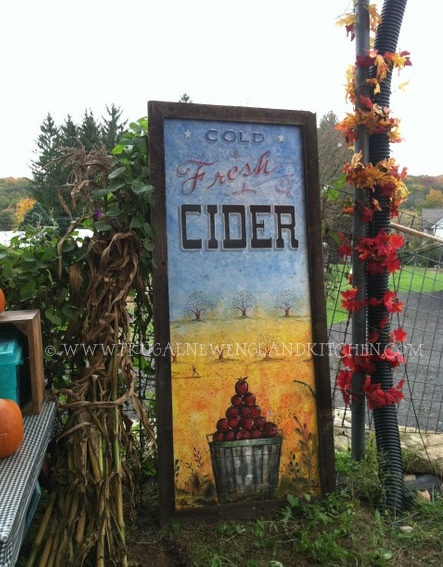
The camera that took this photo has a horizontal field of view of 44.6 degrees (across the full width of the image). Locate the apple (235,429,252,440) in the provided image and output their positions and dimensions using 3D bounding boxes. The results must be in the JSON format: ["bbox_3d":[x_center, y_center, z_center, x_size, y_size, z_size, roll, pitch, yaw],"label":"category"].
[{"bbox_3d":[0.114,0.790,2.805,0.062,0.064,0.058,8,-8,4],"label":"apple"}]

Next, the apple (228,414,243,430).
[{"bbox_3d":[0.075,0.714,2.795,0.085,0.085,0.073,2,6,3],"label":"apple"}]

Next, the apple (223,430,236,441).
[{"bbox_3d":[0.050,0.784,2.796,0.054,0.057,0.052,3,-1,25],"label":"apple"}]

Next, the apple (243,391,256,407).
[{"bbox_3d":[0.151,0.606,2.833,0.076,0.076,0.071,2,-1,-17],"label":"apple"}]

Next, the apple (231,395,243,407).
[{"bbox_3d":[0.086,0.611,2.816,0.060,0.063,0.057,-2,11,12],"label":"apple"}]

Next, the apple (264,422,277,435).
[{"bbox_3d":[0.268,0.763,2.867,0.068,0.077,0.061,-2,10,13],"label":"apple"}]

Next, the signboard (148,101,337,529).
[{"bbox_3d":[0.115,0.120,2.791,1.066,2.166,0.531,5,5,-26],"label":"signboard"}]

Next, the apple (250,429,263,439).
[{"bbox_3d":[0.187,0.793,2.832,0.053,0.054,0.049,0,-1,-4],"label":"apple"}]

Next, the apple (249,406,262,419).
[{"bbox_3d":[0.183,0.679,2.838,0.067,0.070,0.062,-7,-8,6],"label":"apple"}]

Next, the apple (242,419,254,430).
[{"bbox_3d":[0.141,0.737,2.820,0.055,0.054,0.065,-21,-49,39],"label":"apple"}]

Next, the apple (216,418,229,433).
[{"bbox_3d":[0.012,0.728,2.787,0.073,0.078,0.068,8,-1,7],"label":"apple"}]

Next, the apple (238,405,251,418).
[{"bbox_3d":[0.122,0.669,2.814,0.053,0.063,0.054,3,-2,29],"label":"apple"}]

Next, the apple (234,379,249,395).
[{"bbox_3d":[0.110,0.545,2.824,0.080,0.081,0.074,3,-7,-26],"label":"apple"}]
